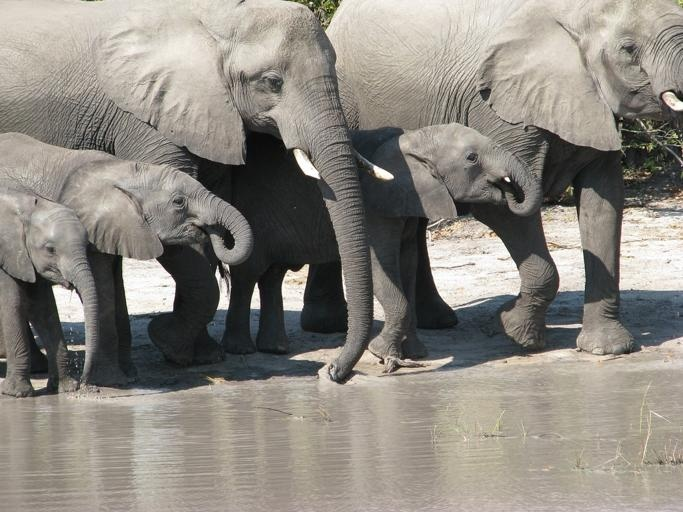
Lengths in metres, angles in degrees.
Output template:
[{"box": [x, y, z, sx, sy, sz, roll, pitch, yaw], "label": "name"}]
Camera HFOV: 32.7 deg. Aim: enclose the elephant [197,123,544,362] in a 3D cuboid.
[{"box": [0.246, -0.108, 8.644, 2.489, 1.670, 1.036, -3, 3, 21], "label": "elephant"}]
